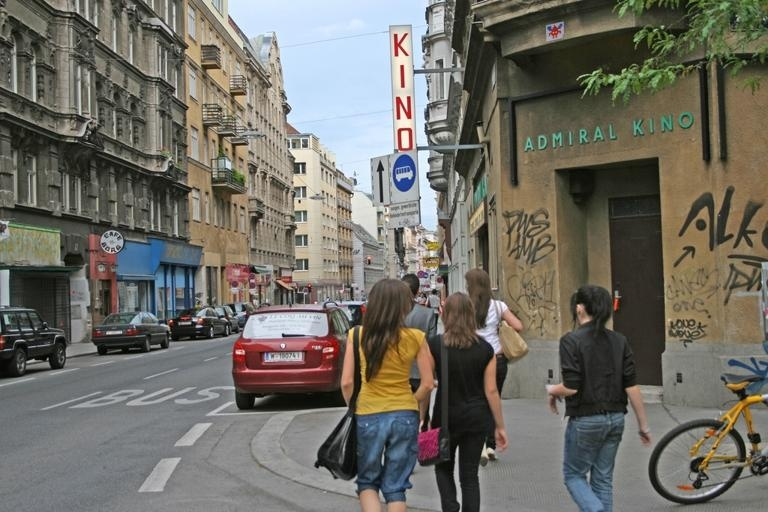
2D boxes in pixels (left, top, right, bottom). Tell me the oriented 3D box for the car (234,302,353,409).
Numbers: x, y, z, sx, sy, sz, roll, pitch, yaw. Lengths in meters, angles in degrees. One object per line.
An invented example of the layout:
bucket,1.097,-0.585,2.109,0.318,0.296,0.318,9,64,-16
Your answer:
car,-1.736,1.815,15.289,1.247,1.155,2.683,0,1,6

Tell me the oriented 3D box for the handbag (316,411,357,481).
handbag,-0.484,1.934,8.171,0.415,0.688,0.198,-2,-4,-5

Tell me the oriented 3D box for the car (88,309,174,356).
car,-9.699,2.965,31.345,1.290,1.561,3.016,-5,-6,27

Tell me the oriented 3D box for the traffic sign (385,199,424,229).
traffic sign,0.420,-0.779,15.570,0.494,0.548,1.413,-1,-6,-19

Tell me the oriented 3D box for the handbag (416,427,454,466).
handbag,0.538,2.001,8.387,0.381,0.400,0.183,-7,-17,16

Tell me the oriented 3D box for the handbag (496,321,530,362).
handbag,1.792,1.142,10.935,0.314,0.628,0.453,0,-2,25
